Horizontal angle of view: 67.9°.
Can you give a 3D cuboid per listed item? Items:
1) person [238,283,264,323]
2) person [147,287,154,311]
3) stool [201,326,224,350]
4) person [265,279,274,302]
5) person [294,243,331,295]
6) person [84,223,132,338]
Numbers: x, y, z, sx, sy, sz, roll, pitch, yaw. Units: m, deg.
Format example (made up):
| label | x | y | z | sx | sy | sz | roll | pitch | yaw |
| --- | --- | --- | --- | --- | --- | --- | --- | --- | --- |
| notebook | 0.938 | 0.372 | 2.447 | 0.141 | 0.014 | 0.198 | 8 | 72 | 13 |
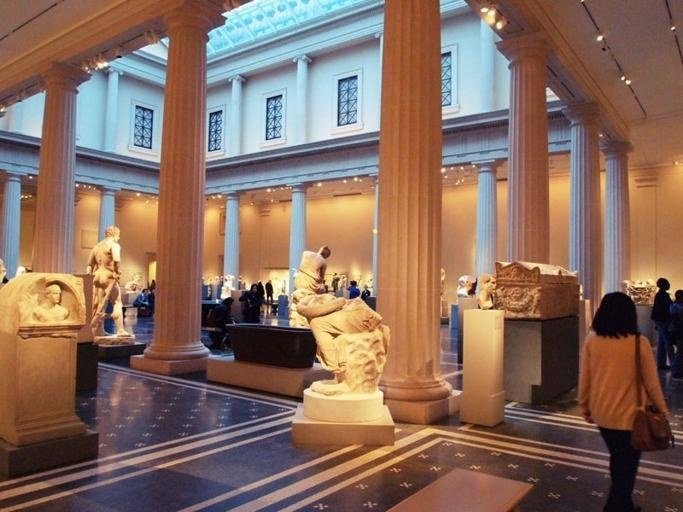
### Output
| label | x | y | z | sx | sy | sz | roll | pitch | yaw |
| --- | --- | --- | --- | --- | --- | --- | --- | --- | --- |
| person | -2.923 | 1.573 | 16.499 | 0.721 | 1.521 | 2.674 | 1 | 2 | -11 |
| person | -8.169 | 2.008 | 21.821 | 0.262 | 0.832 | 0.571 | 0 | 2 | -31 |
| stool | -3.170 | 2.039 | 12.564 | 0.604 | 0.613 | 0.339 | 1 | 1 | 32 |
| person | -3.286 | 1.619 | 23.391 | 0.279 | 0.971 | 1.441 | 1 | 2 | -11 |
| person | -0.555 | 0.072 | 9.176 | 0.678 | 0.535 | 1.552 | -5 | -14 | -7 |
| person | -4.963 | 0.606 | 10.805 | 0.736 | 2.452 | 1.119 | 0 | 2 | -25 |
